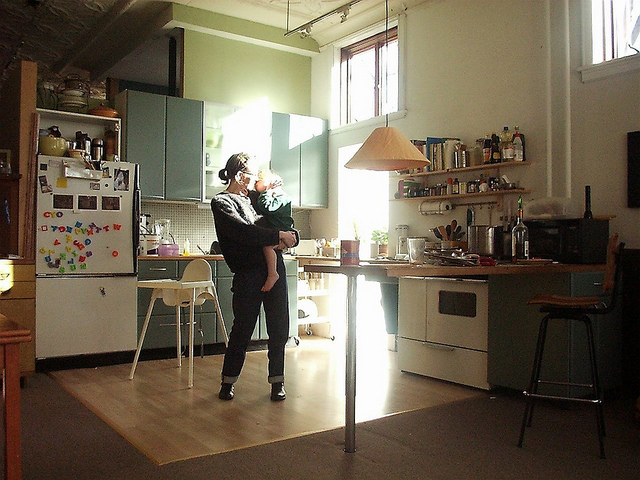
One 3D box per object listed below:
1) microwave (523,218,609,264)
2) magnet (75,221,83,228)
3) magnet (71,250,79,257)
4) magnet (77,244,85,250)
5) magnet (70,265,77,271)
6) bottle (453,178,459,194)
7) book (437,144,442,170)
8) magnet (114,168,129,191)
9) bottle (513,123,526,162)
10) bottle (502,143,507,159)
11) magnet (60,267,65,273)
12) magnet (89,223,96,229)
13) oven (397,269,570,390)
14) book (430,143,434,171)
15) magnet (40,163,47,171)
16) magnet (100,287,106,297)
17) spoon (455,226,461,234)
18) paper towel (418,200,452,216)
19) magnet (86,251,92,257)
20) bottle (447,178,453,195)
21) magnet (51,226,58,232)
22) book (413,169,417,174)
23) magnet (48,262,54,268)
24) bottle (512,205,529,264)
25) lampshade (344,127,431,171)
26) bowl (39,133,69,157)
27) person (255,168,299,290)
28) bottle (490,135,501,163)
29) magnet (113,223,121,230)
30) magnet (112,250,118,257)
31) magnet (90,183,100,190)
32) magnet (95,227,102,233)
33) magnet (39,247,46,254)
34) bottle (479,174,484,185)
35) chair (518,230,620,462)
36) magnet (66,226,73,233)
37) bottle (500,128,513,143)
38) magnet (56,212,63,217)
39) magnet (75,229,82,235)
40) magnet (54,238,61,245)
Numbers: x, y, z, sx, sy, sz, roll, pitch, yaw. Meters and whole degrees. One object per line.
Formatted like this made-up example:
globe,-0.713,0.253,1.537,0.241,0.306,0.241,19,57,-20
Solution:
microwave,2.047,0.020,4.157,0.419,0.400,0.616,1,-2,-18
magnet,-2.314,-0.152,4.798,0.063,0.066,0.017,10,-4,-32
magnet,-2.340,0.130,4.780,0.057,0.057,0.018,4,6,-24
magnet,-2.294,0.064,4.802,0.058,0.060,0.018,2,1,-26
magnet,-2.354,0.264,4.780,0.057,0.060,0.018,3,0,-23
bottle,1.425,-0.566,5.245,0.057,0.161,0.106,1,1,14
book,1.280,-0.898,5.355,0.061,0.273,0.015,2,2,43
magnet,-1.982,-0.605,5.010,0.134,0.214,0.026,0,2,-23
bottle,1.919,-0.950,4.815,0.115,0.405,0.179,1,1,20
bottle,1.783,-0.867,4.828,0.024,0.158,0.055,0,1,-5
magnet,-2.440,0.282,4.742,0.039,0.045,0.015,7,-33,-26
magnet,-2.208,-0.141,4.854,0.062,0.059,0.016,46,-19,-27
oven,1.467,0.782,4.557,0.784,1.068,1.417,2,-3,-41
book,1.214,-0.912,5.459,0.039,0.307,0.097,0,1,-8
magnet,-2.587,-0.692,4.683,0.062,0.066,0.017,1,3,-22
magnet,-2.124,0.509,4.897,0.051,0.094,0.019,-7,4,-14
spoon,1.459,-0.108,5.272,0.067,0.080,0.046,0,1,-9
paper towel,1.269,-0.360,5.494,0.152,0.177,0.369,0,1,-33
magnet,-2.232,0.134,4.837,0.054,0.054,0.018,3,0,-14
bottle,1.376,-0.572,5.298,0.041,0.175,0.101,0,1,1
magnet,-2.494,-0.111,4.706,0.047,0.050,0.013,-3,6,-15
book,1.070,-0.787,5.643,0.043,0.063,0.062,-1,3,-20
magnet,-2.522,0.242,4.700,0.041,0.049,0.035,0,-1,40
bottle,1.441,-0.041,3.588,0.106,0.408,0.247,1,1,21
lampshade,0.481,-0.666,3.567,0.580,0.283,0.324,1,1,2
bowl,-2.629,-0.932,4.973,0.238,0.178,0.224,0,1,0
person,-0.349,-0.088,3.939,0.322,0.958,0.495,0,1,-8
bottle,1.719,-0.907,4.922,0.098,0.280,0.047,1,2,37
magnet,-2.010,-0.137,4.960,0.063,0.053,0.009,2,4,-17
magnet,-2.024,0.131,4.944,0.059,0.059,0.014,1,0,-21
magnet,-2.200,-0.532,4.887,0.072,0.069,0.020,1,2,-23
magnet,-2.158,-0.105,4.882,0.056,0.058,0.015,4,0,-18
magnet,-2.576,0.096,4.666,0.046,0.076,0.029,7,13,31
bottle,1.629,-0.614,5.042,0.042,0.103,0.075,1,1,18
chair,1.655,0.703,3.337,0.591,1.372,0.562,0,-4,41
magnet,-2.385,-0.105,4.758,0.057,0.057,0.016,3,1,-22
bottle,1.840,-1.038,4.903,0.084,0.128,0.097,1,1,15
magnet,-2.457,-0.242,4.728,0.052,0.042,0.010,0,2,-35
magnet,-2.316,-0.083,4.793,0.055,0.058,0.013,1,-1,-31
magnet,-2.474,0.013,4.711,0.058,0.059,0.013,0,5,-24
